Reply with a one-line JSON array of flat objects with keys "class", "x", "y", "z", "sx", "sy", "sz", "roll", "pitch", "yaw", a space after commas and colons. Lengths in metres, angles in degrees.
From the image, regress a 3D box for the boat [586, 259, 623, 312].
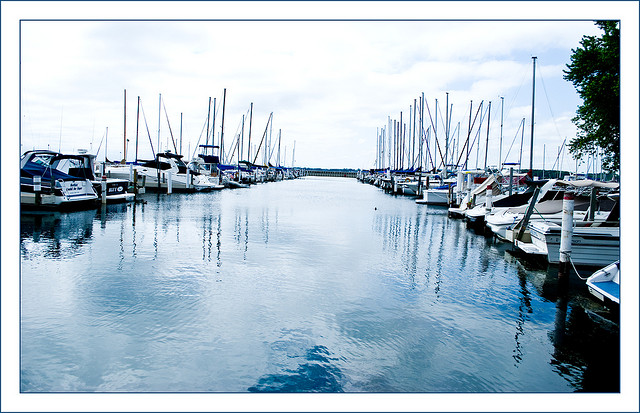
[{"class": "boat", "x": 7.185, "y": 1.930, "z": 13.601, "sx": 0.708, "sy": 1.010, "sz": 1.249, "roll": 7, "pitch": 8, "yaw": 26}]
